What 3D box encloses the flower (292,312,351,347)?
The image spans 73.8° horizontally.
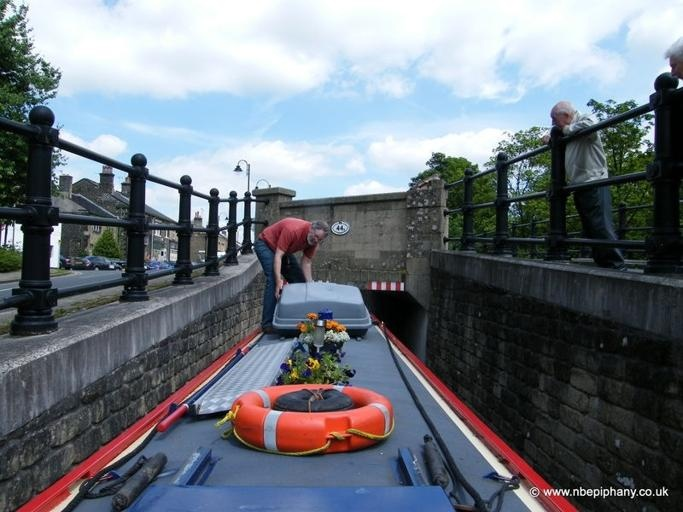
[{"bbox_3d":[-0.126,0.628,3.743,0.383,0.292,0.291,3,-8,-37],"label":"flower"}]

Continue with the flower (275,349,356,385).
[{"bbox_3d":[-0.178,0.751,2.972,0.320,0.165,0.332,1,7,-3],"label":"flower"}]
